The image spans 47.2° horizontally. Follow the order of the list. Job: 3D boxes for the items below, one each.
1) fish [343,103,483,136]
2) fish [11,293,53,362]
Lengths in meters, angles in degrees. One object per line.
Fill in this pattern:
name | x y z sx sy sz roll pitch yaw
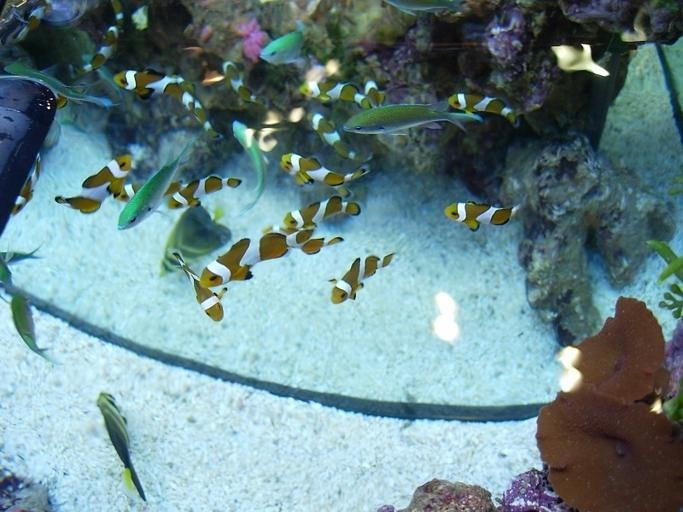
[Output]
fish | 0.462 -0.876 4.995 0.730 0.211 0.173 -5 53 -13
fish | -1.996 0.414 4.978 0.213 0.564 0.159 -1 13 41
